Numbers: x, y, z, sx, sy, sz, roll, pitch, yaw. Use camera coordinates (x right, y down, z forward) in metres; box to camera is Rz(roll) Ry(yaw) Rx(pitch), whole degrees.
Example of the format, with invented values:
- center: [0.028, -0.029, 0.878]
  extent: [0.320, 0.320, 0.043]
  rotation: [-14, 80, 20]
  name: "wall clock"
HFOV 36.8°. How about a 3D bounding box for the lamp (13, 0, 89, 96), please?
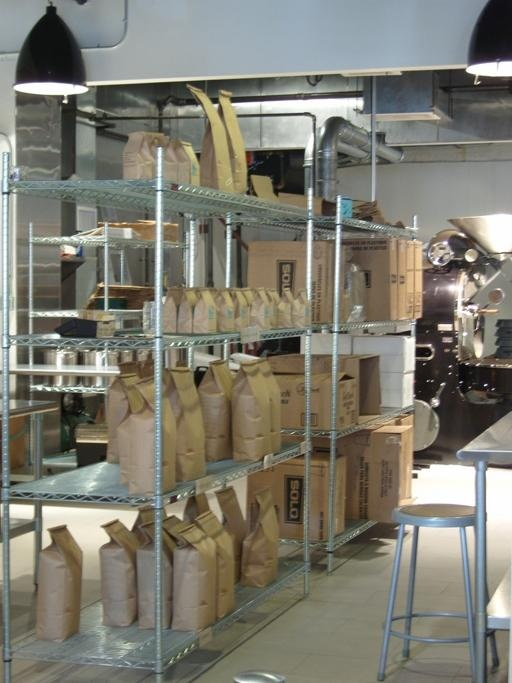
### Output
- center: [-1.099, -1.586, 4.084]
  extent: [0.347, 0.512, 0.327]
  rotation: [0, 1, 15]
  name: "lamp"
